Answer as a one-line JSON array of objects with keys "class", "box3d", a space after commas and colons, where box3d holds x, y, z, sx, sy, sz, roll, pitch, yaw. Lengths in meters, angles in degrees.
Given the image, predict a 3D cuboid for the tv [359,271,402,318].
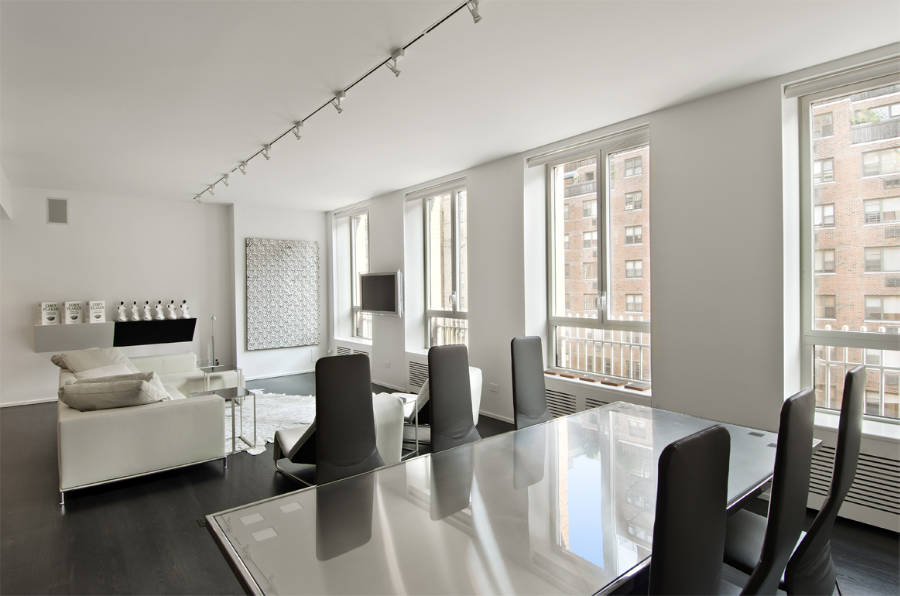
[{"class": "tv", "box3d": [-1.119, -0.101, 9.263, 0.218, 0.772, 1.124, -14, 17, -37]}]
